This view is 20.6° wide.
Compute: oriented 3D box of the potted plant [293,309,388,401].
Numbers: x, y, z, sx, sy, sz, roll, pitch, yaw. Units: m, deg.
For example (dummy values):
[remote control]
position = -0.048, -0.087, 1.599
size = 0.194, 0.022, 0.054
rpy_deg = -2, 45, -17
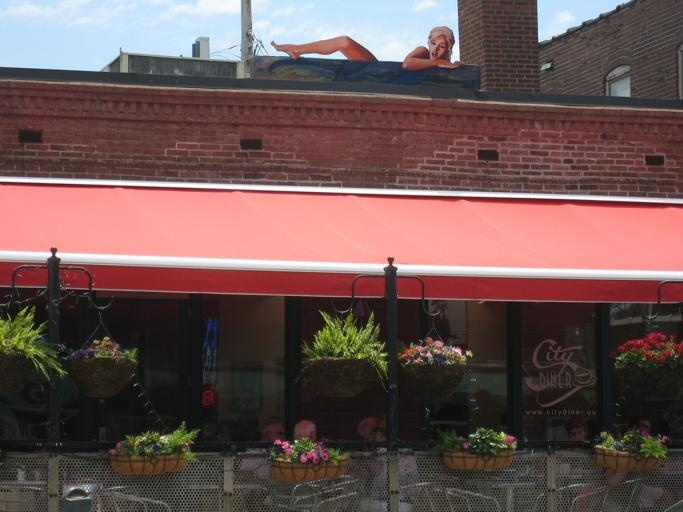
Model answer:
[potted plant]
position = 0.106, 1.418, 27.641
size = 1.294, 1.004, 1.222
rpy_deg = 6, 5, 17

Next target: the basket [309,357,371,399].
[basket]
position = -0.002, 1.783, 27.698
size = 1.114, 0.452, 0.999
rpy_deg = 0, 3, -10
